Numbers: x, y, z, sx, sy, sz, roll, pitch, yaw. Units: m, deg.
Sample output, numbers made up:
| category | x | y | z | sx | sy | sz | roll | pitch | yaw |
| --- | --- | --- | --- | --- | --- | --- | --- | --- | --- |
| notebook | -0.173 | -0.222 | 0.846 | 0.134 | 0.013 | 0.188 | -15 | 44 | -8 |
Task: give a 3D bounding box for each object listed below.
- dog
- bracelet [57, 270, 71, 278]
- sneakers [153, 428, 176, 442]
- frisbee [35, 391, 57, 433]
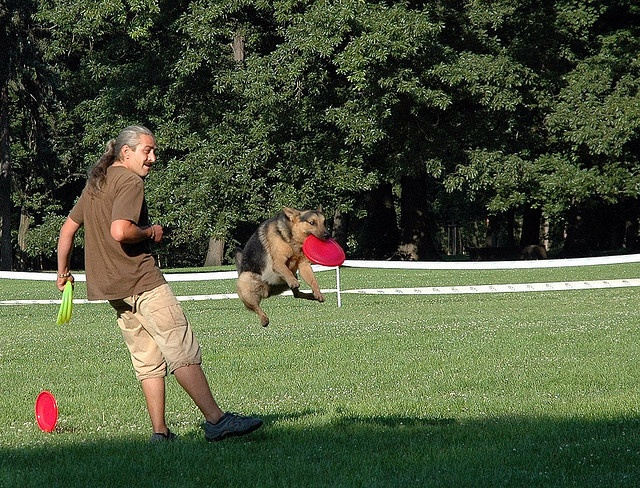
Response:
| category | x | y | z | sx | sy | sz | roll | pitch | yaw |
| --- | --- | --- | --- | --- | --- | --- | --- | --- | --- |
| dog | -0.656 | 0.229 | 18.228 | 1.006 | 1.939 | 2.551 | 0 | -21 | -42 |
| bracelet | -3.586 | 0.428 | 14.472 | 0.122 | 0.043 | 0.129 | -10 | 17 | 0 |
| sneakers | -2.151 | 2.648 | 14.257 | 0.380 | 0.170 | 0.128 | -4 | 7 | -45 |
| frisbee | -3.954 | 2.437 | 14.905 | 0.360 | 0.619 | 0.282 | -4 | 0 | 2 |
